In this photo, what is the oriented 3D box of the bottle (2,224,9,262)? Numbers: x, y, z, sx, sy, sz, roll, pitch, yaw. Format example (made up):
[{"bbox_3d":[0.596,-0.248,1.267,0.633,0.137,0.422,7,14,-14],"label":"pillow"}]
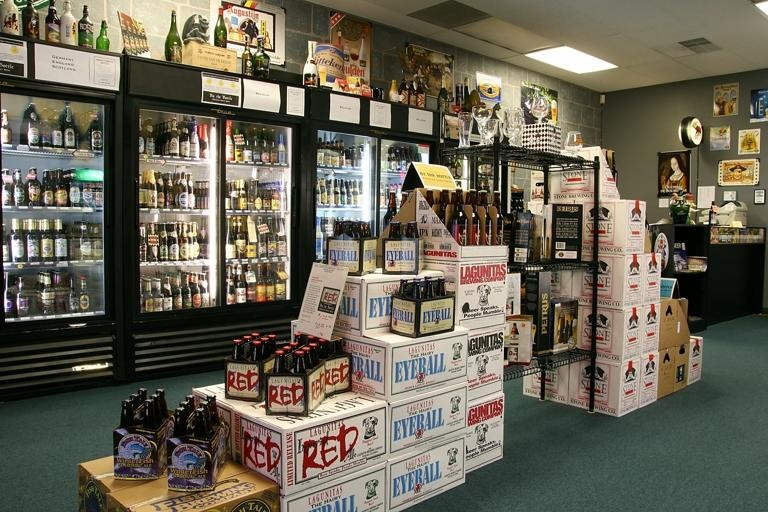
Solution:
[{"bbox_3d":[-3.590,-0.132,5.480,0.064,0.346,0.158,-5,13,-25],"label":"bottle"}]

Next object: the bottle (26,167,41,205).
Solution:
[{"bbox_3d":[-3.383,-0.678,5.553,0.125,0.349,0.144,-7,14,-34],"label":"bottle"}]

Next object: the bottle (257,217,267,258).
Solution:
[{"bbox_3d":[-1.376,-0.219,6.558,0.126,0.407,0.206,-2,12,-13],"label":"bottle"}]

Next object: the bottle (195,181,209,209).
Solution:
[{"bbox_3d":[-1.985,-0.672,6.266,0.152,0.279,0.134,-3,12,-16],"label":"bottle"}]

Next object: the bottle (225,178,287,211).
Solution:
[{"bbox_3d":[-1.432,-0.699,6.503,0.659,0.362,0.323,0,2,-20],"label":"bottle"}]

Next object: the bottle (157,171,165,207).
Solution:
[{"bbox_3d":[-2.369,-0.709,6.098,0.080,0.338,0.199,-4,13,-21],"label":"bottle"}]

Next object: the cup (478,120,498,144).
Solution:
[{"bbox_3d":[0.915,-1.078,4.949,0.199,0.259,0.206,0,12,0],"label":"cup"}]

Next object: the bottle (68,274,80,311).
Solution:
[{"bbox_3d":[-3.091,0.364,5.719,0.088,0.319,0.178,-5,13,-25],"label":"bottle"}]

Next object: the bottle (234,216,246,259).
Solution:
[{"bbox_3d":[-1.604,-0.212,6.453,0.124,0.432,0.185,-2,12,-16],"label":"bottle"}]

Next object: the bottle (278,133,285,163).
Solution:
[{"bbox_3d":[-1.155,-1.225,6.525,0.086,0.315,0.137,-1,12,-10],"label":"bottle"}]

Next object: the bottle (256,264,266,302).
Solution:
[{"bbox_3d":[-1.393,0.293,6.527,0.101,0.336,0.267,-1,12,-10],"label":"bottle"}]

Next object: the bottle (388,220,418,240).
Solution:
[{"bbox_3d":[0.148,-0.193,4.311,0.215,0.214,0.116,0,5,11],"label":"bottle"}]

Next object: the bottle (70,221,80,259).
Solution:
[{"bbox_3d":[-3.060,-0.158,5.698,0.088,0.355,0.101,-3,12,-18],"label":"bottle"}]

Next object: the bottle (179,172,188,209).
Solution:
[{"bbox_3d":[-2.149,-0.706,6.149,0.100,0.358,0.182,-3,13,-20],"label":"bottle"}]

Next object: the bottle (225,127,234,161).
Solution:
[{"bbox_3d":[-1.696,-1.270,6.362,0.087,0.405,0.152,-1,12,-10],"label":"bottle"}]

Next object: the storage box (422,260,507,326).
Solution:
[{"bbox_3d":[0.614,0.167,4.551,0.687,0.629,0.473,-3,3,-41],"label":"storage box"}]

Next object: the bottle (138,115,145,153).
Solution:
[{"bbox_3d":[-2.508,-1.270,5.962,0.043,0.378,0.259,-3,13,-19],"label":"bottle"}]

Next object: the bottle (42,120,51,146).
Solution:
[{"bbox_3d":[-3.265,-1.193,5.558,0.082,0.233,0.105,-6,14,-30],"label":"bottle"}]

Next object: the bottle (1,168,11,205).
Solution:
[{"bbox_3d":[-3.604,-0.672,5.505,0.101,0.341,0.257,-7,14,-32],"label":"bottle"}]

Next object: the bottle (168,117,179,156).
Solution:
[{"bbox_3d":[-2.216,-1.264,6.067,0.098,0.393,0.197,-3,13,-18],"label":"bottle"}]

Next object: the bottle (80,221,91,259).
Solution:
[{"bbox_3d":[-2.973,-0.160,5.728,0.104,0.344,0.088,-2,12,-14],"label":"bottle"}]

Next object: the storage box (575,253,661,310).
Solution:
[{"bbox_3d":[2.281,0.223,5.509,0.570,0.446,0.559,1,-1,-40],"label":"storage box"}]

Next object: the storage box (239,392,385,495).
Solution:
[{"bbox_3d":[-0.439,1.191,3.676,0.975,0.407,0.404,-3,13,-18],"label":"storage box"}]

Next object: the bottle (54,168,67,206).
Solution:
[{"bbox_3d":[-3.156,-0.675,5.636,0.110,0.331,0.198,-6,14,-28],"label":"bottle"}]

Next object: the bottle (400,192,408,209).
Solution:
[{"bbox_3d":[0.167,-0.455,4.568,0.050,0.110,0.129,2,12,3],"label":"bottle"}]

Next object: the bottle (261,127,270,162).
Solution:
[{"bbox_3d":[-1.341,-1.257,6.488,0.092,0.369,0.185,-1,12,-11],"label":"bottle"}]

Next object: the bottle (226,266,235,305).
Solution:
[{"bbox_3d":[-1.678,0.317,6.312,0.090,0.357,0.344,-2,13,-13],"label":"bottle"}]

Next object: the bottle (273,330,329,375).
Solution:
[{"bbox_3d":[-0.565,0.641,3.800,0.228,0.233,0.231,6,8,26],"label":"bottle"}]

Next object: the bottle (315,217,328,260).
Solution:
[{"bbox_3d":[-0.739,-0.220,6.988,0.139,0.464,0.342,0,12,-6],"label":"bottle"}]

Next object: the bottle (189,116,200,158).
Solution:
[{"bbox_3d":[-2.022,-1.270,6.148,0.097,0.401,0.124,-3,12,-18],"label":"bottle"}]

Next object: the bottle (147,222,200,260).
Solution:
[{"bbox_3d":[-2.253,-0.162,6.159,0.552,0.385,0.265,-3,13,-18],"label":"bottle"}]

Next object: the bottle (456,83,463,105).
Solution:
[{"bbox_3d":[1.087,-2.367,8.346,0.092,0.283,0.233,-1,12,-8],"label":"bottle"}]

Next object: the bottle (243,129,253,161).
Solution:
[{"bbox_3d":[-1.521,-1.227,6.425,0.109,0.333,0.180,-2,12,-14],"label":"bottle"}]

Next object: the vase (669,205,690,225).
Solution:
[{"bbox_3d":[4.287,-0.576,8.364,0.268,0.296,0.273,11,-8,-43],"label":"vase"}]

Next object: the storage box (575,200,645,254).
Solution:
[{"bbox_3d":[2.171,-0.270,5.528,0.535,0.540,0.542,3,5,36],"label":"storage box"}]

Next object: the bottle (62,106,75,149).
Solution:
[{"bbox_3d":[-3.071,-1.270,5.606,0.118,0.394,0.146,-5,13,-26],"label":"bottle"}]

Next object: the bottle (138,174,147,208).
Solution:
[{"bbox_3d":[-2.492,-0.703,5.976,0.095,0.345,0.249,-4,13,-22],"label":"bottle"}]

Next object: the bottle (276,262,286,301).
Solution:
[{"bbox_3d":[-1.171,0.282,6.596,0.129,0.352,0.208,-1,12,-10],"label":"bottle"}]
